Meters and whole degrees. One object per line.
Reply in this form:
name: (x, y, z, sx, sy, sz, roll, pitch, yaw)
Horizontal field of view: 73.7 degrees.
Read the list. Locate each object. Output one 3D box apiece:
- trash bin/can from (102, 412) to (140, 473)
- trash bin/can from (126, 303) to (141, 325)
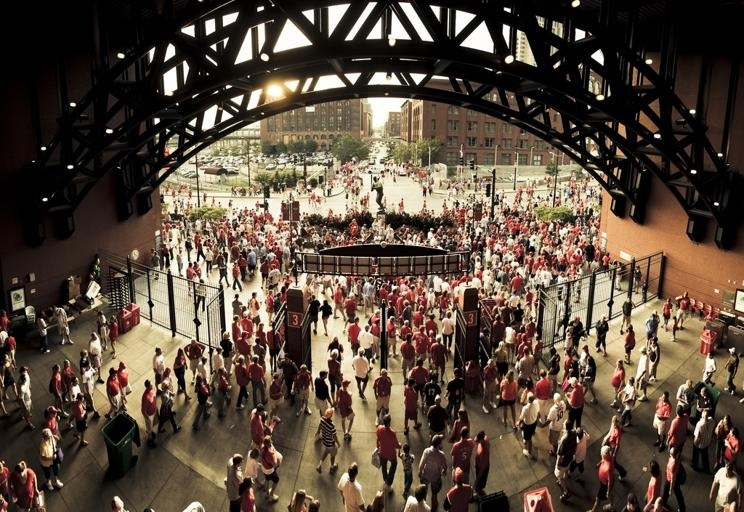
trash bin/can: (-7.997, 6.028, 15.776, 0.722, 1.473, 0.957, 24, 33, 21)
trash bin/can: (-11.001, 2.690, 22.807, 0.480, 1.006, 0.536, 15, 25, 29)
